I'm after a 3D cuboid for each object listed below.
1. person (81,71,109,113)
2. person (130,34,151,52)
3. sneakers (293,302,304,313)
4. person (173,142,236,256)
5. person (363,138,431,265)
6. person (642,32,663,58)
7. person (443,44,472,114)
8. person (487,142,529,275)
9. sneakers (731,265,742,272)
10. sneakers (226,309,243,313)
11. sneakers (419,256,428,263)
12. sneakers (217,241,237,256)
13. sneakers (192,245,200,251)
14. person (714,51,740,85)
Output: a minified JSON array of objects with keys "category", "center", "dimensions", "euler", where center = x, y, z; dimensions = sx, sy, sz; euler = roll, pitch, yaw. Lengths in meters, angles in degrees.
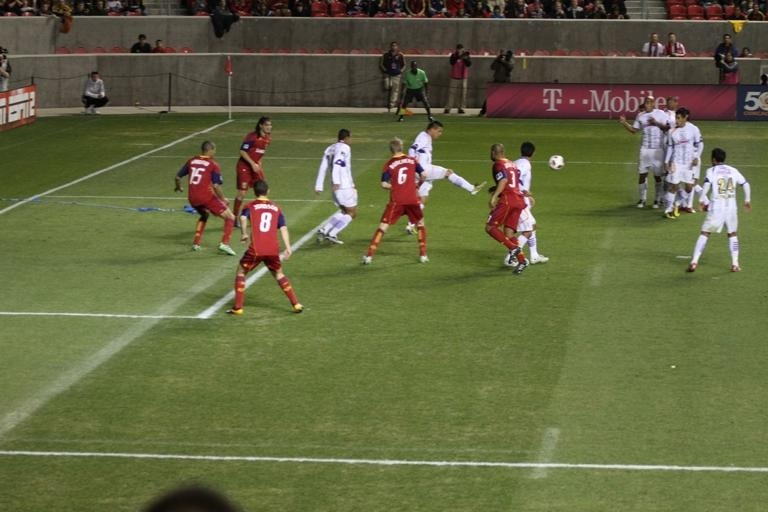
[{"category":"person","center":[-10.567,-5.956,40.118],"dimensions":[0.848,1.501,0.691],"euler":[-3,12,-13]},{"category":"person","center":[-9.745,-8.507,44.016],"dimensions":[0.822,0.820,2.071],"euler":[-2,9,-12]},{"category":"sneakers","center":[-1.458,0.874,18.861],"dimensions":[0.219,0.149,0.078],"euler":[10,35,18]},{"category":"person","center":[-3.580,-1.160,21.951],"dimensions":[1.141,2.241,1.578],"euler":[-2,11,-8]},{"category":"person","center":[0.222,-1.083,21.505],"dimensions":[1.198,2.409,1.314],"euler":[0,11,1]},{"category":"person","center":[10.496,-8.243,43.128],"dimensions":[0.809,0.788,0.610],"euler":[2,11,10]},{"category":"person","center":[2.769,-6.770,42.203],"dimensions":[0.996,2.577,1.588],"euler":[0,11,4]},{"category":"person","center":[2.286,-0.879,20.639],"dimensions":[0.774,2.397,0.660],"euler":[0,12,5]},{"category":"sneakers","center":[6.628,0.241,20.886],"dimensions":[0.183,0.080,0.247],"euler":[-1,-3,14]},{"category":"sneakers","center":[-2.568,0.948,18.795],"dimensions":[0.265,0.073,0.096],"euler":[3,7,29]},{"category":"sneakers","center":[0.759,0.066,21.390],"dimensions":[0.138,0.115,0.155],"euler":[-3,4,-11]},{"category":"sneakers","center":[-3.096,-0.127,21.605],"dimensions":[0.525,0.192,0.161],"euler":[19,3,-32]},{"category":"sneakers","center":[-3.763,-0.165,21.992],"dimensions":[0.179,0.112,0.323],"euler":[0,-1,-8]},{"category":"person","center":[12.584,-6.994,40.746],"dimensions":[0.828,1.213,1.358],"euler":[2,10,14]}]
